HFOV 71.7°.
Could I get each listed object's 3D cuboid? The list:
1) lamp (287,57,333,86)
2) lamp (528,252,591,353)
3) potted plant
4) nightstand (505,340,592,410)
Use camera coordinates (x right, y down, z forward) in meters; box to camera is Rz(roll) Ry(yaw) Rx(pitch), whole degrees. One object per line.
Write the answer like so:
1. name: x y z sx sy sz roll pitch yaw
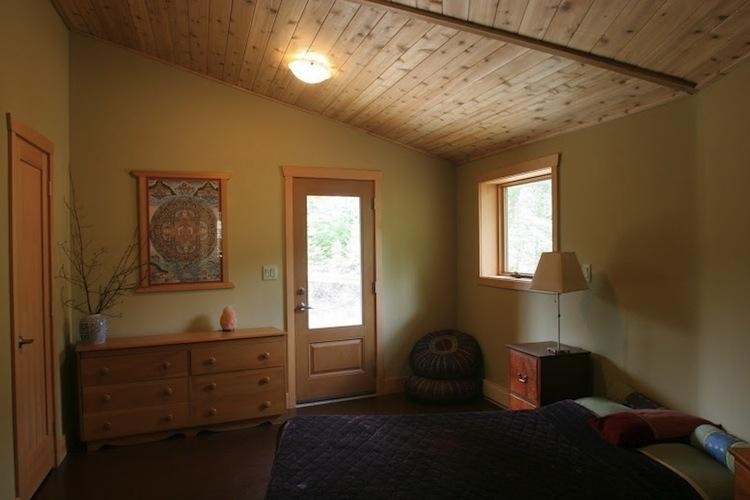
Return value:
1. lamp: -0.575 -1.635 4.680 0.401 0.202 0.246 -3 10 -14
2. lamp: 1.664 0.457 4.707 0.474 0.957 0.475 -4 14 -13
3. potted plant: -2.613 0.067 4.948 0.640 1.522 0.534 -4 9 -20
4. nightstand: 1.549 1.075 4.763 0.514 0.758 0.605 0 -1 -5
